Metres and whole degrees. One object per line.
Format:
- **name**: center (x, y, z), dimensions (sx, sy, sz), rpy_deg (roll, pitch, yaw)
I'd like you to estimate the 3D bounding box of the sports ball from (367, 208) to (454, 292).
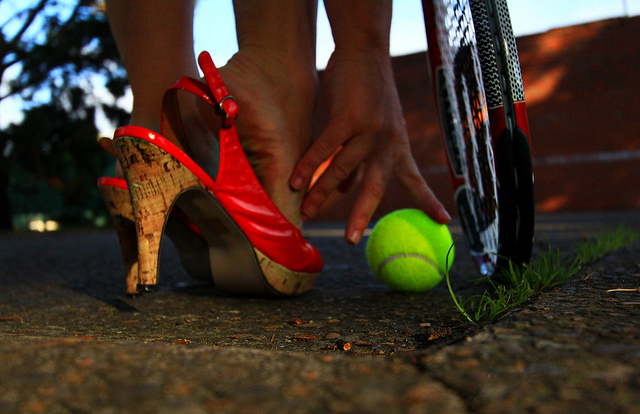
- **sports ball**: center (0.347, 0.145, 2.071), dimensions (0.361, 0.282, 0.298), rpy_deg (-2, 0, 13)
